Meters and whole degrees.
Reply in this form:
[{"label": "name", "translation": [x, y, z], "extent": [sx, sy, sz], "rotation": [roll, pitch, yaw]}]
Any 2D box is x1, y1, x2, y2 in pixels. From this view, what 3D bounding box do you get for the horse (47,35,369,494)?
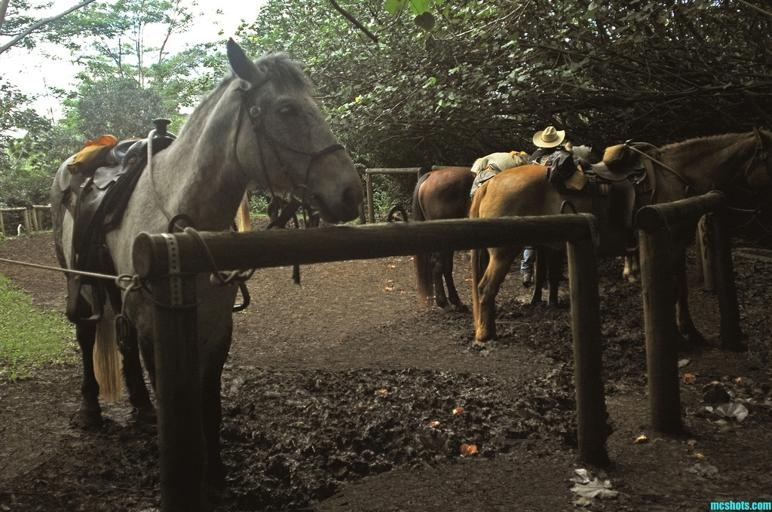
[{"label": "horse", "translation": [-1.543, 0.134, 5.411], "extent": [2.817, 3.044, 1.079], "rotation": [-3, 0, 39]}]
